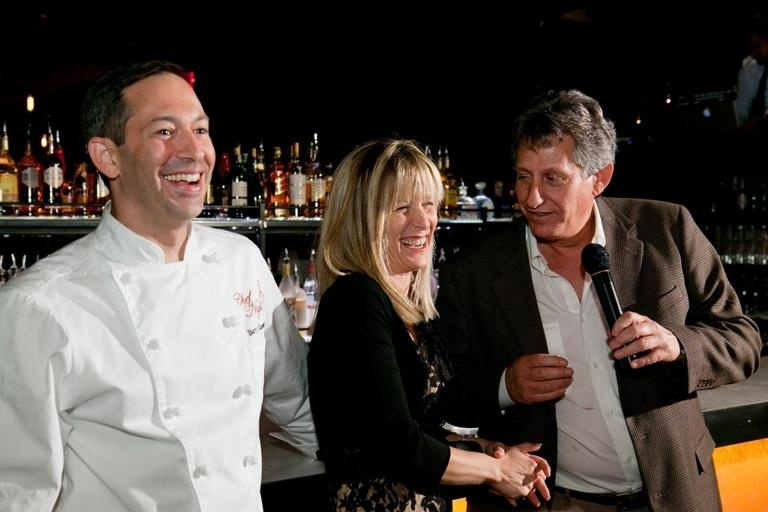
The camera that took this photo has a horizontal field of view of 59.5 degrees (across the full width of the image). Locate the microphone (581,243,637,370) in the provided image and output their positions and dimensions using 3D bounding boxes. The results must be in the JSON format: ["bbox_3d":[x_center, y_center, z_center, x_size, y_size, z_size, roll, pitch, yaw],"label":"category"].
[{"bbox_3d":[0.714,0.102,2.205,0.102,0.273,0.179,-2,3,-11],"label":"microphone"}]
